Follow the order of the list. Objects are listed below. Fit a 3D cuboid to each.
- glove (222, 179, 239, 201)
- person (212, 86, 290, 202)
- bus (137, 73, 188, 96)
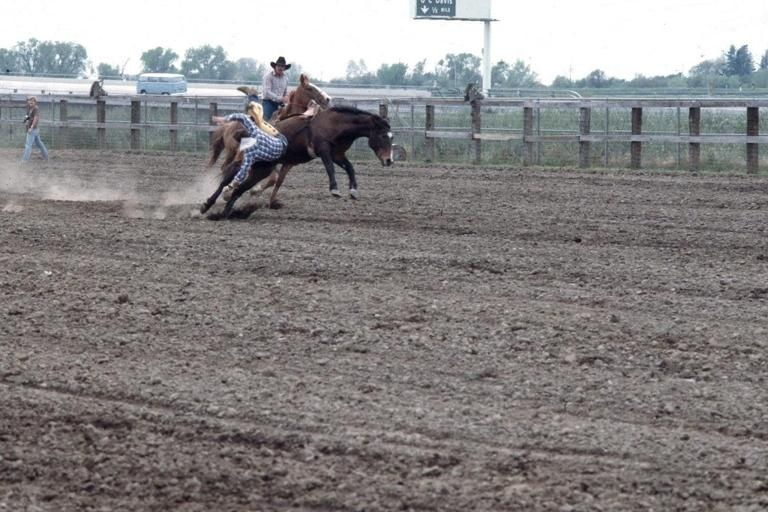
[{"bbox_3d":[-2.397,-1.046,15.396,0.083,0.313,0.178,32,39,3],"label":"glove"},{"bbox_3d":[-2.101,-1.528,14.935,0.569,1.222,2.250,11,11,17],"label":"person"},{"bbox_3d":[-12.193,-9.424,53.943,2.494,0.886,3.518,-2,15,-11],"label":"bus"}]
